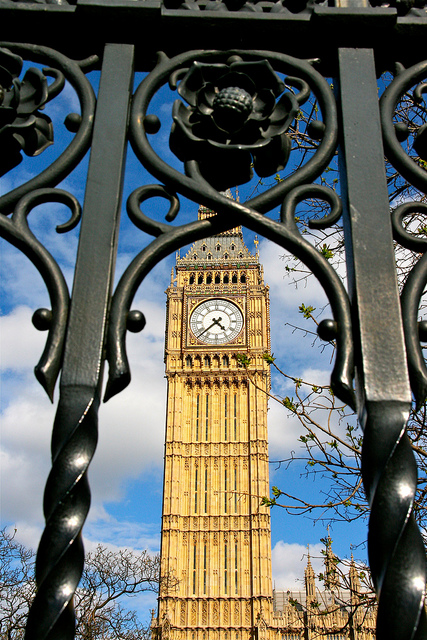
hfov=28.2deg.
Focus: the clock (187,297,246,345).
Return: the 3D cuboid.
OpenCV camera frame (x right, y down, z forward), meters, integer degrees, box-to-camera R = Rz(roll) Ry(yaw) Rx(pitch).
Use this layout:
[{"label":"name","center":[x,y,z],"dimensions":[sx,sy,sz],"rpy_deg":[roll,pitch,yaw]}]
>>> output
[{"label":"clock","center":[0.100,0.053,38.926],"dimensions":[2.445,2.147,0.130],"rpy_deg":[2,-9,2]}]
